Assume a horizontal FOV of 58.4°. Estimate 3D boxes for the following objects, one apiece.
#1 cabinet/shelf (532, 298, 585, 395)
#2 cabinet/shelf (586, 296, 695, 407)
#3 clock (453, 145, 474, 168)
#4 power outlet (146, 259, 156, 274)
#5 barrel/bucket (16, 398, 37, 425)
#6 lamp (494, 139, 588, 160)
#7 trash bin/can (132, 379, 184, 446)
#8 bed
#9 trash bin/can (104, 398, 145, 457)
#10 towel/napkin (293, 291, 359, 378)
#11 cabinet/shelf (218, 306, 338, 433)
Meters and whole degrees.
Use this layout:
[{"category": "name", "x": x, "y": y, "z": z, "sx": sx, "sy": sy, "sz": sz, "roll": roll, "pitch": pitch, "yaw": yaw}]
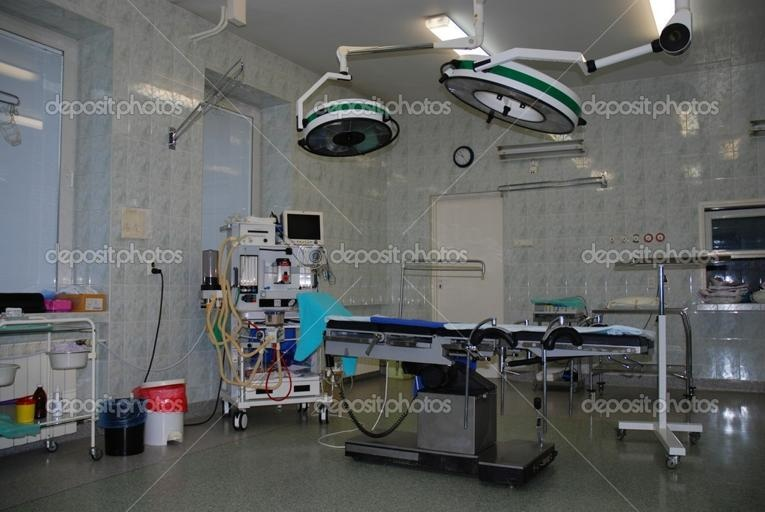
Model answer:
[{"category": "cabinet/shelf", "x": 2.430, "y": 1.414, "z": 9.211, "sx": 0.522, "sy": 0.827, "sz": 0.515, "roll": 5, "pitch": -13, "yaw": 30}, {"category": "cabinet/shelf", "x": 2.993, "y": 1.102, "z": 7.830, "sx": 1.281, "sy": 1.182, "sz": 0.580, "roll": 0, "pitch": -1, "yaw": 37}, {"category": "clock", "x": 1.189, "y": -1.454, "z": 10.122, "sx": 0.300, "sy": 0.319, "sz": 0.075, "roll": 1, "pitch": 0, "yaw": 35}, {"category": "power outlet", "x": -2.508, "y": 0.118, "z": 7.360, "sx": 0.092, "sy": 0.160, "sz": 0.060, "roll": -4, "pitch": 7, "yaw": -33}, {"category": "barrel/bucket", "x": -3.331, "y": 1.434, "z": 6.343, "sx": 0.166, "sy": 0.230, "sz": 0.219, "roll": 3, "pitch": -9, "yaw": -25}, {"category": "lamp", "x": 2.196, "y": -1.479, "z": 9.522, "sx": 1.186, "sy": 0.274, "sz": 0.258, "roll": 2, "pitch": 7, "yaw": 21}, {"category": "trash bin/can", "x": -2.244, "y": 1.582, "z": 6.935, "sx": 0.506, "sy": 0.589, "sz": 0.498, "roll": 0, "pitch": -10, "yaw": -20}, {"category": "bed", "x": 0.907, "y": 1.317, "z": 6.341, "sx": 2.941, "sy": 1.538, "sz": 1.334, "roll": -2, "pitch": -1, "yaw": 26}, {"category": "trash bin/can", "x": -2.523, "y": 1.655, "z": 6.631, "sx": 0.447, "sy": 0.495, "sz": 0.473, "roll": -3, "pitch": -6, "yaw": 4}, {"category": "towel/napkin", "x": -0.555, "y": 0.739, "z": 7.016, "sx": 0.645, "sy": 0.774, "sz": 0.591, "roll": 5, "pitch": 11, "yaw": 7}, {"category": "cabinet/shelf", "x": -1.171, "y": 1.290, "z": 7.582, "sx": 1.461, "sy": 1.755, "sz": 1.072, "roll": 1, "pitch": -1, "yaw": -26}]
